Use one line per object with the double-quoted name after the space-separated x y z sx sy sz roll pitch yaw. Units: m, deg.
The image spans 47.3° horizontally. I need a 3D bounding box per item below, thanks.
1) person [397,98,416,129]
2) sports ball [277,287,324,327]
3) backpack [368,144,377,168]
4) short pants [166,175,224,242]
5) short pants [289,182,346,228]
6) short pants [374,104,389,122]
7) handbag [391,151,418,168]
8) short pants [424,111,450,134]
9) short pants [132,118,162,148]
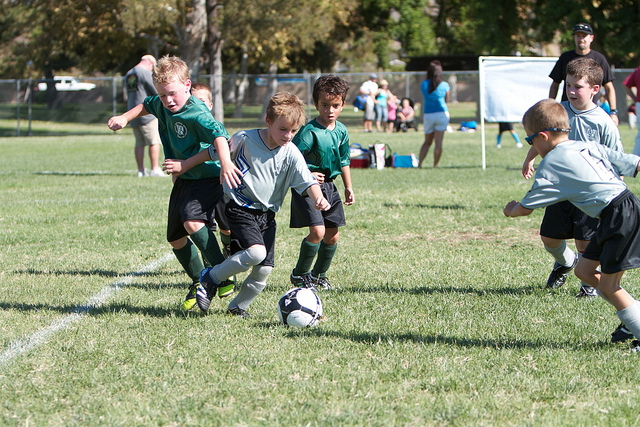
3.107 -3.626 26.100 0.732 1.066 0.824 -4 -2 42 "person"
-0.168 0.834 6.726 0.355 0.342 0.354 26 29 -16 "sports ball"
1.121 -1.213 15.384 0.144 0.448 0.355 1 13 -2 "backpack"
-1.219 -0.059 7.052 0.537 0.700 0.411 -13 -20 37 "short pants"
-0.040 -0.025 7.432 0.695 0.648 0.420 -1 -1 -36 "short pants"
2.245 -3.622 26.297 0.506 0.653 0.967 2 13 4 "short pants"
1.793 -1.123 15.464 0.429 0.181 0.295 4 0 -1 "handbag"
2.304 -1.796 14.436 0.517 0.376 0.365 0 3 5 "short pants"
-3.126 -1.441 13.307 0.416 0.545 0.654 -10 17 -40 "short pants"
